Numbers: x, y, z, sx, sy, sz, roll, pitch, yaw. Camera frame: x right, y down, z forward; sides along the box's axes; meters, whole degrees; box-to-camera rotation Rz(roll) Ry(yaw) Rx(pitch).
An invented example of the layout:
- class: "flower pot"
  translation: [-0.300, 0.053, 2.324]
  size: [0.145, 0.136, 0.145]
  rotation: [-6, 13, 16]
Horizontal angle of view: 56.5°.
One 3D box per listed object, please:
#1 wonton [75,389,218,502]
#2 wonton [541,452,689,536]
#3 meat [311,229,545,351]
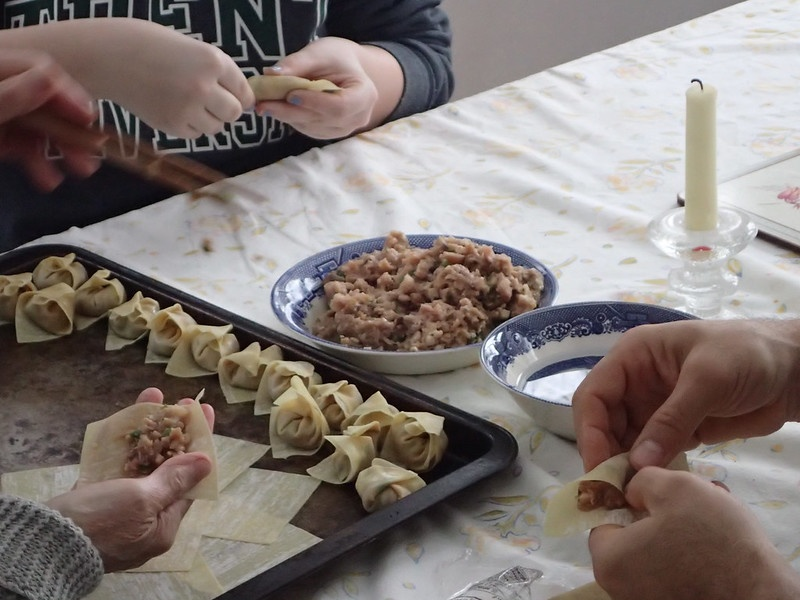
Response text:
- class: "wonton"
  translation: [-0.316, 0.181, 0.953]
  size: [0.154, 0.032, 0.140]
  rotation: [-3, 48, 4]
- class: "wonton"
  translation: [0.196, 0.208, 0.781]
  size: [0.088, 0.078, 0.070]
  rotation: [2, 37, 5]
- class: "meat"
  translation: [0.039, -0.003, 1.107]
  size: [0.249, 0.074, 0.235]
  rotation: [10, 33, 31]
